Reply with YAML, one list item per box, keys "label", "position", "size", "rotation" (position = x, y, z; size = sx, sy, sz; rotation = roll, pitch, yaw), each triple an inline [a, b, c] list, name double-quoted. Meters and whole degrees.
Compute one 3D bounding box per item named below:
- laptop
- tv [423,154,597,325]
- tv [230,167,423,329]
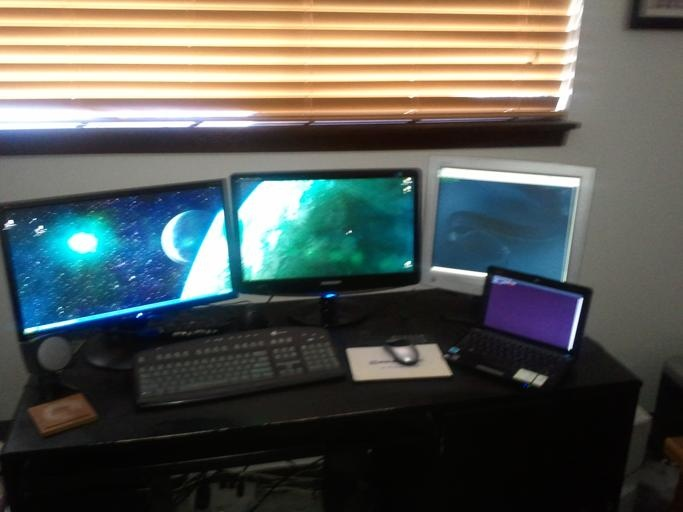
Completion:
- label: "laptop"
  position: [0.515, 0.251, 1.585]
  size: [0.411, 0.229, 0.373]
  rotation: [19, 38, 35]
- label: "tv"
  position: [0.522, -0.050, 1.713]
  size: [0.627, 0.509, 0.060]
  rotation: [7, 14, 12]
- label: "tv"
  position: [-0.052, -0.035, 1.721]
  size: [0.593, 0.440, 0.128]
  rotation: [-2, 9, -6]
